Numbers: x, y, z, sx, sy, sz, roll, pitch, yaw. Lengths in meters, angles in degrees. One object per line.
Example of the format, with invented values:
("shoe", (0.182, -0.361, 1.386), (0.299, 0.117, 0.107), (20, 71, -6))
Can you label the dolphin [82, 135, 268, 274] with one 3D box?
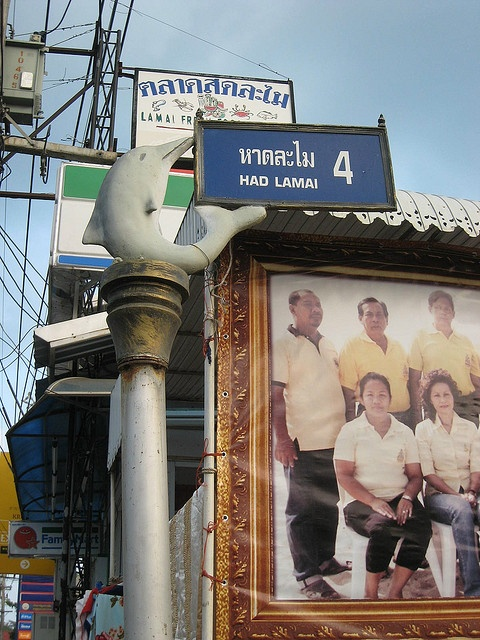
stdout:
("dolphin", (-0.382, -0.714, 6.121), (1.083, 1.049, 0.383), (-9, -30, -1))
